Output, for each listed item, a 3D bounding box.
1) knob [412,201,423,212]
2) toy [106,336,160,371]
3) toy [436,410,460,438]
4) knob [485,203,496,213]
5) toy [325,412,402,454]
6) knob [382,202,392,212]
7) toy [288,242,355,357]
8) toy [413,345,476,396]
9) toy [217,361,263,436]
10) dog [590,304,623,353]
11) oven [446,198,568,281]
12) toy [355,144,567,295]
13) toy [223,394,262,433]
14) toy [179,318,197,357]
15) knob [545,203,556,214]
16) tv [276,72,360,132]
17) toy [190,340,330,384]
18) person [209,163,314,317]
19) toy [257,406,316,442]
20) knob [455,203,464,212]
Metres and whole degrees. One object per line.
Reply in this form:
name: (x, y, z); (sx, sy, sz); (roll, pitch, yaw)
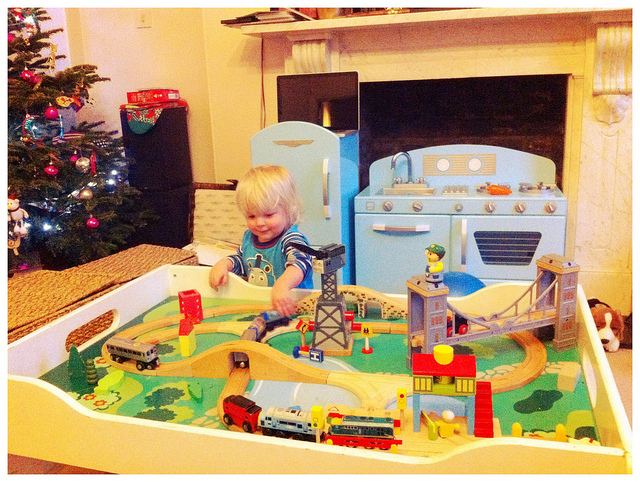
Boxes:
knob: (0.573, -0.198, 3.067); (0.056, 0.064, 0.023); (1, 13, -3)
toy: (-0.536, 0.321, 1.498); (0.149, 0.065, 0.049); (6, 14, 20)
toy: (0.289, 0.416, 1.183); (0.046, 0.046, 0.025); (3, 17, 10)
knob: (0.963, -0.185, 2.967); (0.053, 0.056, 0.022); (4, 13, 9)
toy: (0.100, 0.431, 1.177); (0.169, 0.061, 0.048); (5, 13, 15)
knob: (0.398, -0.199, 3.095); (0.047, 0.047, 0.034); (5, 4, 12)
toy: (0.026, 0.171, 1.553); (0.180, 0.333, 0.156); (-2, -3, -7)
toy: (0.280, 0.296, 1.178); (0.143, 0.108, 0.068); (4, 13, 9)
toy: (-0.224, 0.415, 1.388); (0.113, 0.136, 0.080); (15, 22, 39)
dog: (1.539, 0.481, 2.799); (0.170, 0.221, 0.175); (7, 14, 23)
oven: (1.066, -0.062, 3.233); (0.750, 0.724, 0.515); (0, 16, 13)
toy: (1.045, -0.063, 3.903); (1.817, 1.427, 0.699); (1, 12, 13)
toy: (-0.187, 0.407, 1.268); (0.100, 0.064, 0.056); (11, 19, 29)
toy: (-0.389, 0.288, 1.534); (0.034, 0.102, 0.075); (-2, 17, 5)
knob: (1.273, -0.180, 2.885); (0.055, 0.052, 0.015); (4, 6, 24)
tv: (0.005, -0.850, 3.210); (0.444, 0.309, 0.021); (3, 13, 18)
toy: (-0.182, 0.332, 1.449); (0.447, 0.102, 0.060); (2, 14, 10)
person: (-0.214, -0.030, 2.033); (0.369, 0.493, 0.771); (1, 12, -2)
toy: (-0.076, 0.444, 1.237); (0.145, 0.064, 0.046); (13, -30, -16)
knob: (0.798, -0.190, 3.002); (0.039, 0.030, 0.040); (-6, 20, -20)
